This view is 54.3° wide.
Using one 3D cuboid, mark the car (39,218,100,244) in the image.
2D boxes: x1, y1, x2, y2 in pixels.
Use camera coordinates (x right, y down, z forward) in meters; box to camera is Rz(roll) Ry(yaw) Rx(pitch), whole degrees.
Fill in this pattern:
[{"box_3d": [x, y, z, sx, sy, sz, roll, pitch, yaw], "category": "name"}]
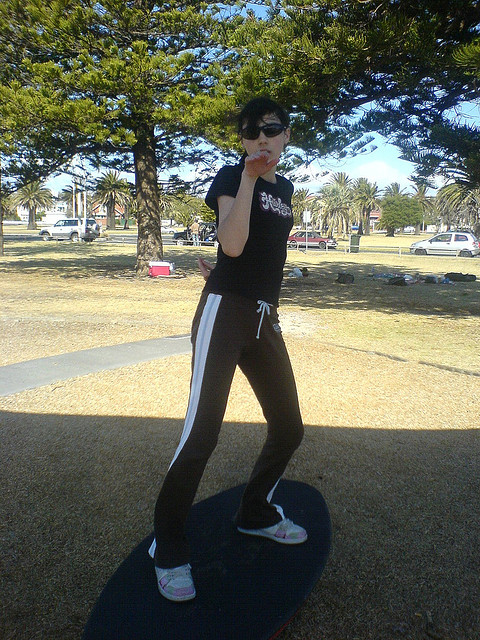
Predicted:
[{"box_3d": [-15.250, -8.168, 42.383, 4.553, 2.374, 2.151, 7, 7, 8], "category": "car"}]
